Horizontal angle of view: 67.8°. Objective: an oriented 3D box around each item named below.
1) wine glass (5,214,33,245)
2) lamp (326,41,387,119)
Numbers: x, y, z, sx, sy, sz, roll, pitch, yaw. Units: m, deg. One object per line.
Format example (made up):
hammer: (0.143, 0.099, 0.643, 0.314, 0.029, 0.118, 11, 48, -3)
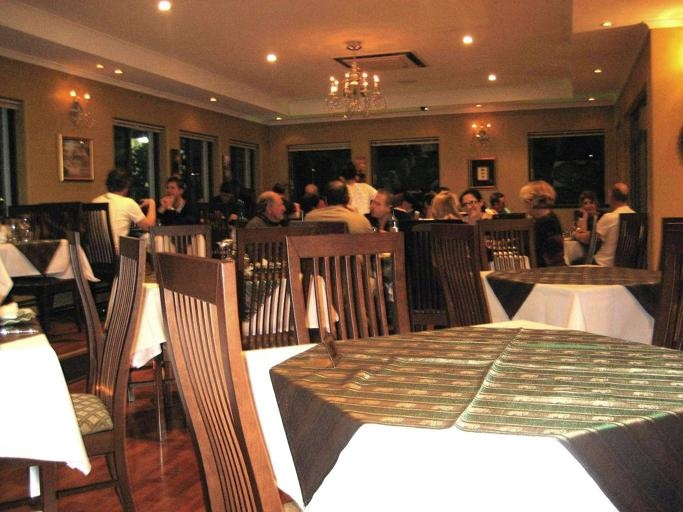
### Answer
wine glass: (-2.928, -0.242, 4.652, 0.333, 0.278, 0.293, 1, 3, -20)
lamp: (0.201, -2.892, 8.378, 0.942, 0.986, 0.852, 16, 32, 28)
